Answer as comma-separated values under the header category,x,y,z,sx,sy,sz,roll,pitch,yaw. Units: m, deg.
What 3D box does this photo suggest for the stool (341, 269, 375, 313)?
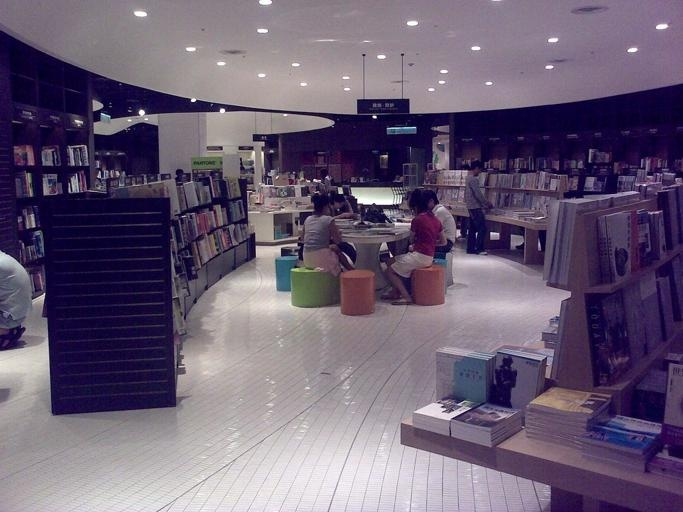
category,x,y,z,sx,sy,sz,roll,pitch,yaw
stool,0.230,0.509,6.727,0.486,0.568,0.487,2,4,33

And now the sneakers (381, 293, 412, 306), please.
category,x,y,z,sx,sy,sz,roll,pitch,yaw
sneakers,0.821,0.663,7.245,0.341,0.098,0.183,6,11,13

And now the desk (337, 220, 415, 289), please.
category,x,y,z,sx,sy,sz,roll,pitch,yaw
desk,0.527,-0.065,7.644,1.354,0.756,0.980,2,12,14

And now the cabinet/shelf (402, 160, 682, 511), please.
category,x,y,z,sx,sy,sz,roll,pitch,yaw
cabinet/shelf,1.248,0.391,2.628,1.170,0.741,1.814,5,13,29
